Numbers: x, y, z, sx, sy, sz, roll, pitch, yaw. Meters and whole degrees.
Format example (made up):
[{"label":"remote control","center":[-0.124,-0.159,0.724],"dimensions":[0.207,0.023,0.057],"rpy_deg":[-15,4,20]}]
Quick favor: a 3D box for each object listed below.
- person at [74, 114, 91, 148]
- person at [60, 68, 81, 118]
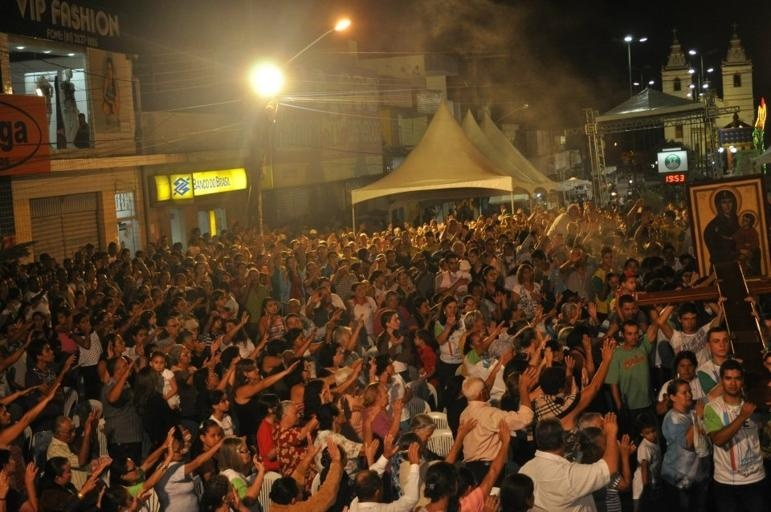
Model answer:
[{"label":"person","center":[-11.135,-4.659,24.170],"dimensions":[0.378,1.249,0.938],"rpy_deg":[-4,6,13]},{"label":"person","center":[-11.465,-6.016,23.911],"dimensions":[0.317,1.650,0.660],"rpy_deg":[-4,6,11]}]
